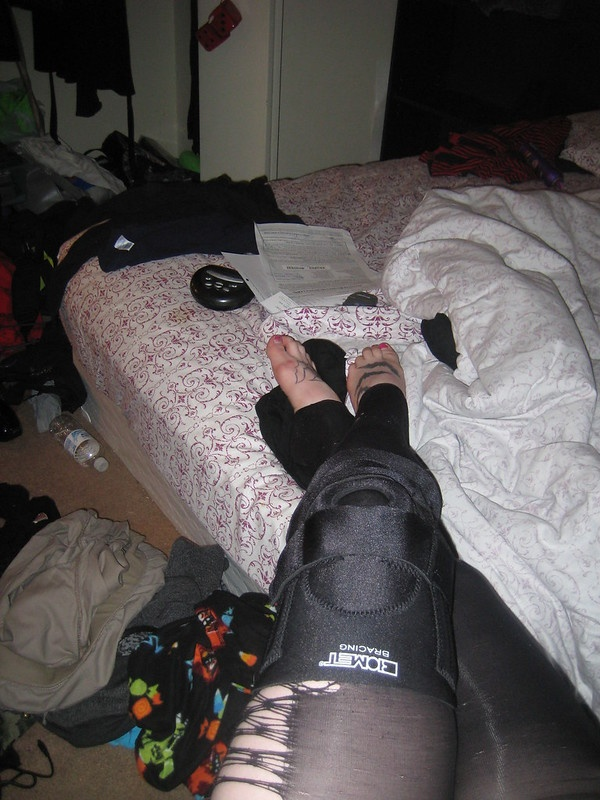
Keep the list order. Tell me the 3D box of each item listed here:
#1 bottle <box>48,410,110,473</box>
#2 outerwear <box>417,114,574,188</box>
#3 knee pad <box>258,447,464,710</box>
[{"bbox_3d":[-0.541,0.107,1.497,0.077,0.067,0.169,-25,49,-31],"label":"bottle"},{"bbox_3d":[0.523,-0.664,1.653,0.338,0.091,0.284,1,33,10],"label":"outerwear"},{"bbox_3d":[0.058,0.161,0.557,0.151,0.077,0.218,9,50,8],"label":"knee pad"}]
